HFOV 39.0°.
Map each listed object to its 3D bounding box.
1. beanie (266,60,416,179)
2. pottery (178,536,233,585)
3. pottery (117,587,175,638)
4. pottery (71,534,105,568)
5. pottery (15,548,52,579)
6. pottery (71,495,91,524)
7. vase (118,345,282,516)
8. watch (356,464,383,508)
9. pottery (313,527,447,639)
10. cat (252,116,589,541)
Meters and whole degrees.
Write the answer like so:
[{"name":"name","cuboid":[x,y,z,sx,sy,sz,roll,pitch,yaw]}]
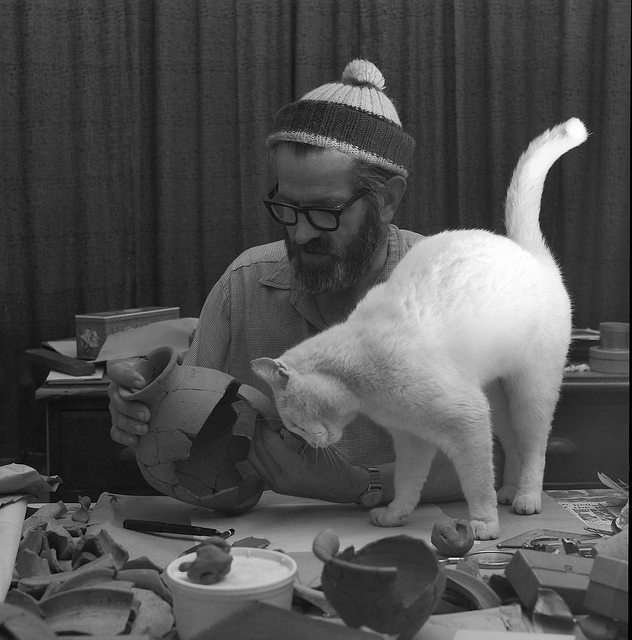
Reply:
[{"name":"beanie","cuboid":[0.058,-0.499,2.253,0.352,0.283,0.298,0,15,-10]},{"name":"pottery","cuboid":[-0.165,0.365,1.352,0.063,0.058,0.058,17,18,14]},{"name":"pottery","cuboid":[-0.265,0.477,1.436,0.099,0.060,0.122,2,12,4]},{"name":"pottery","cuboid":[-0.426,0.432,1.674,0.059,0.052,0.074,3,4,-14]},{"name":"pottery","cuboid":[-0.511,0.442,1.616,0.064,0.049,0.070,2,4,-18]},{"name":"pottery","cuboid":[-0.503,0.407,1.924,0.046,0.071,0.043,5,9,-38]},{"name":"vase","cuboid":[-0.257,0.203,2.023,0.328,0.370,0.348,-9,15,-39]},{"name":"watch","cuboid":[0.120,0.382,2.031,0.050,0.090,0.084,6,26,-18]},{"name":"pottery","cuboid":[0.093,0.418,1.374,0.205,0.144,0.154,4,4,11]},{"name":"cat","cuboid":[0.271,-0.011,1.942,0.739,0.915,0.392,0,5,-40]}]
